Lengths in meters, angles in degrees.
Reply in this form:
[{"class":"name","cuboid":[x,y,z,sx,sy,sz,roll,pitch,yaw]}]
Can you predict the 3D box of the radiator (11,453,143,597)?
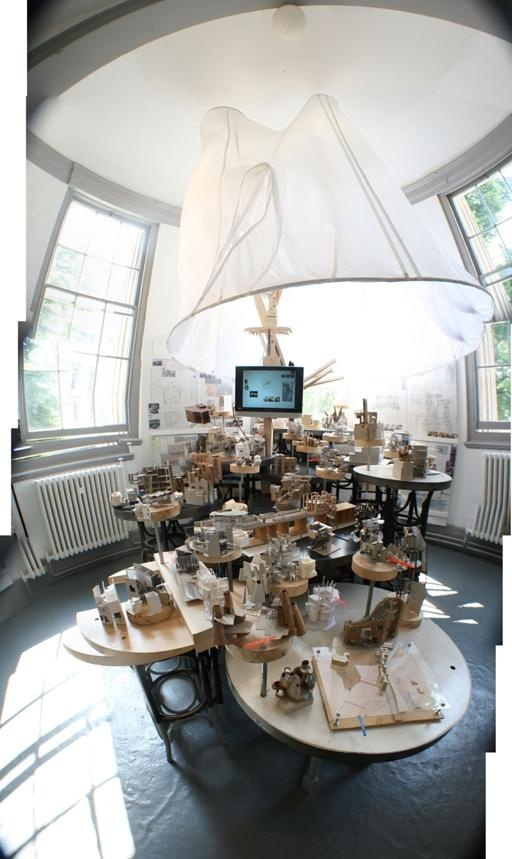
[{"class":"radiator","cuboid":[-1.613,0.841,4.334,0.140,0.982,1.203,1,5,41]}]
